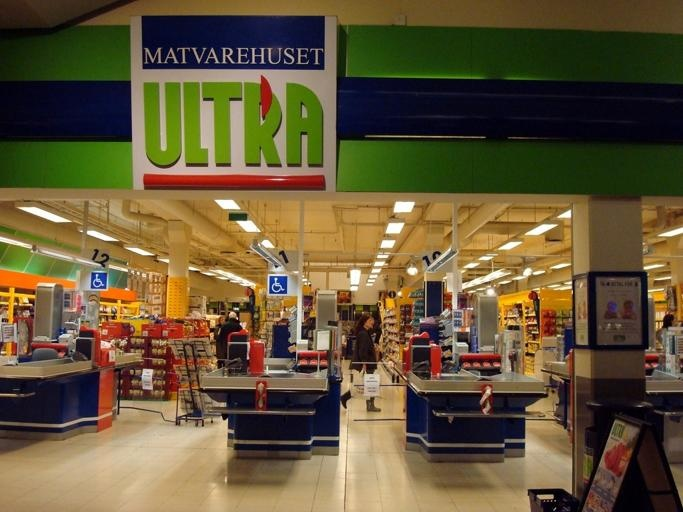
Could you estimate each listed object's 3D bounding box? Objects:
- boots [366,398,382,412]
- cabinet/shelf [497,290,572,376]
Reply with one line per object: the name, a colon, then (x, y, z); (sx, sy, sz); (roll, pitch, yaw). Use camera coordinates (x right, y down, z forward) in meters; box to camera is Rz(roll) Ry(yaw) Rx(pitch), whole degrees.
boots: (0.627, 2.990, 11.399); (0.313, 0.347, 0.179); (2, -5, -6)
cabinet/shelf: (6.051, 2.669, 17.534); (0.937, 3.039, 2.833); (22, -22, -29)
